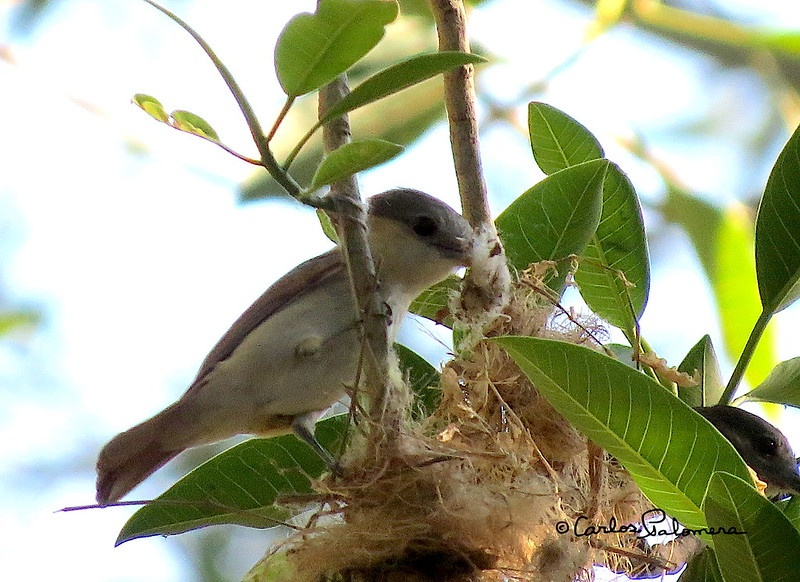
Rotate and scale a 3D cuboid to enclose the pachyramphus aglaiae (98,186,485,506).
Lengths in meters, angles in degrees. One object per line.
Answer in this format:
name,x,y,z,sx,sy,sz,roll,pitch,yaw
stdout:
pachyramphus aglaiae,-0.170,0.071,1.889,0.641,0.351,0.207,-18,-46,2
